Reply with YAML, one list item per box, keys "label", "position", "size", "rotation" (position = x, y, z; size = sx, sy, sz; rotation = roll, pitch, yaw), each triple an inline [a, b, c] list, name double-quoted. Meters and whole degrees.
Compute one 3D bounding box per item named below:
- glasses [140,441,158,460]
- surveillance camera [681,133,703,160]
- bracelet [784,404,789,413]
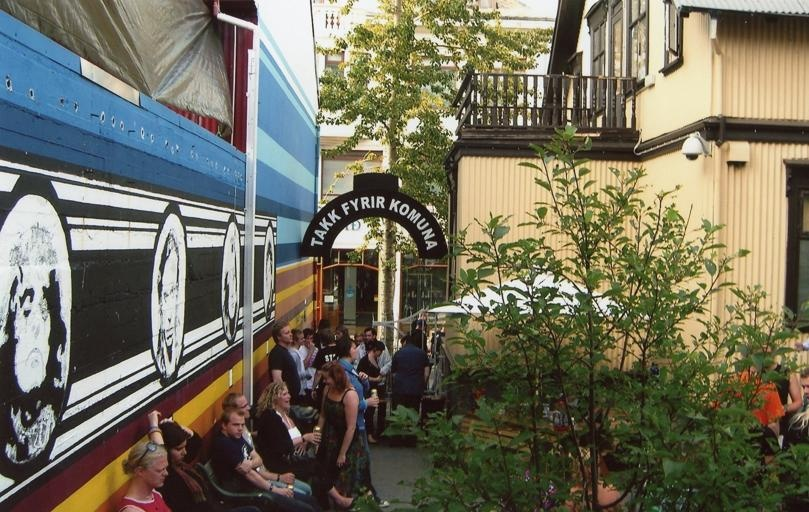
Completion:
- label: "glasses"
  position: [-2.256, 1.702, 6.011]
  size: [0.095, 0.100, 0.028]
  rotation: [1, -44, 32]
- label: "surveillance camera"
  position: [4.473, -1.661, 10.567]
  size: [0.349, 0.434, 0.365]
  rotation: [-2, 4, -16]
- label: "bracelet"
  position: [4.741, 1.883, 8.446]
  size: [0.031, 0.116, 0.077]
  rotation: [16, -13, -43]
